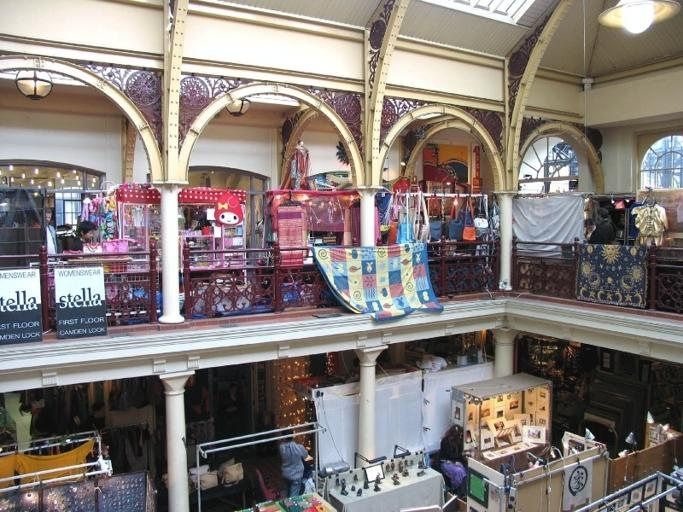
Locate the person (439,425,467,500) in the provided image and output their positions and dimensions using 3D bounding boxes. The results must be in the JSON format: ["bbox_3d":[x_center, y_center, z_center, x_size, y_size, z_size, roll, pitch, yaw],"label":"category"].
[{"bbox_3d":[2.523,4.686,12.936,0.617,1.329,0.909,-2,3,5],"label":"person"}]

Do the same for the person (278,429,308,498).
[{"bbox_3d":[-1.032,4.453,12.162,0.562,1.220,1.093,-3,3,-5],"label":"person"}]

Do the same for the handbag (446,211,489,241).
[{"bbox_3d":[3.034,-0.602,13.936,0.743,0.871,0.815,2,13,7],"label":"handbag"}]

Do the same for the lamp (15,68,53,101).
[{"bbox_3d":[-6.037,-3.454,11.065,0.591,0.478,1.126,-4,3,-29],"label":"lamp"}]

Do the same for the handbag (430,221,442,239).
[{"bbox_3d":[2.232,-0.632,13.749,0.271,0.412,0.134,3,1,-13],"label":"handbag"}]

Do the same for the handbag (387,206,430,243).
[{"bbox_3d":[1.565,-0.704,13.455,0.849,0.934,0.682,2,-2,-5],"label":"handbag"}]
